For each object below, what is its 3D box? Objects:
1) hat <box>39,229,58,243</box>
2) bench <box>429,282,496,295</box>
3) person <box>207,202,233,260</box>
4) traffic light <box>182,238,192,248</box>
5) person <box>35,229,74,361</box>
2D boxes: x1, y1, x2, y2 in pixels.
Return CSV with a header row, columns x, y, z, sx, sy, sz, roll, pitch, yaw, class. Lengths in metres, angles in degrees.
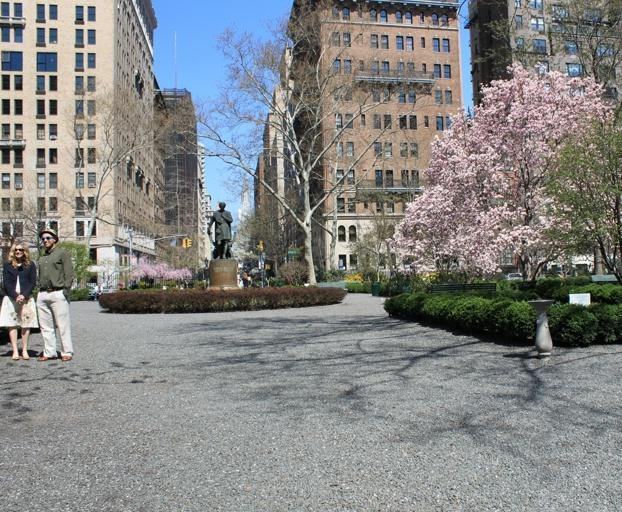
x,y,z,sx,sy,sz,roll,pitch,yaw,class
-4.722,-0.413,10.961,0.265,0.105,0.270,-19,-28,30,hat
5.748,1.148,22.742,2.730,0.270,1.855,-4,3,-40,bench
-4.116,-1.099,27.339,0.963,2.718,0.899,1,-20,-11,person
-9.861,-1.081,48.086,0.594,0.653,2.365,-2,2,-16,traffic light
-4.632,0.715,10.957,0.638,2.407,0.553,-2,2,-22,person
